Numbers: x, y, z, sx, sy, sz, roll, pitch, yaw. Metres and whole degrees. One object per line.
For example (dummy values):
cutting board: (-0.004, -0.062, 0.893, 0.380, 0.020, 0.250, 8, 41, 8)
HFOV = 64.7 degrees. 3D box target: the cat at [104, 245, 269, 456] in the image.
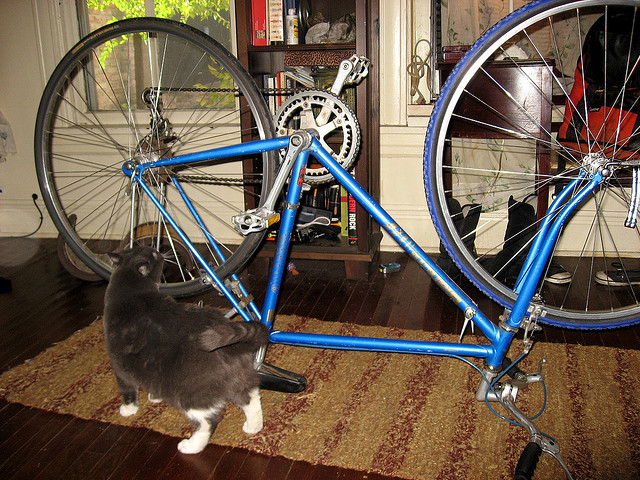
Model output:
cat: (-0.556, 0.411, 1.887, 0.822, 0.622, 0.375, 18, 25, 33)

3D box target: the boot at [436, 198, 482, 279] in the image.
boot: (0.789, -0.023, 2.890, 0.235, 0.498, 0.781, 5, 22, 17)

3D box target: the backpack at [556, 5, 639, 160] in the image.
backpack: (1.398, -0.749, 2.439, 0.388, 0.720, 0.540, 9, 23, 26)

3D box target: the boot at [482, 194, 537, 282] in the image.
boot: (1.091, -0.025, 2.852, 0.247, 0.427, 0.807, 7, 23, 23)
